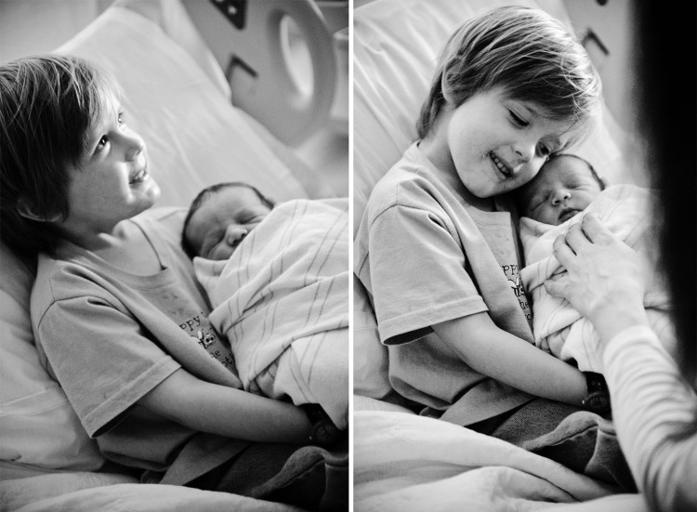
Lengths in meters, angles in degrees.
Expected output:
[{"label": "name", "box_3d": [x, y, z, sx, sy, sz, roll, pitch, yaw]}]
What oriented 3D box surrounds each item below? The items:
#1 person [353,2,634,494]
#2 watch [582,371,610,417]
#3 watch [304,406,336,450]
[{"label": "person", "box_3d": [0.642, -0.143, 2.660, 1.067, 2.085, 1.223, 3, 5, 26]}, {"label": "watch", "box_3d": [0.670, 0.363, 1.727, 0.048, 0.062, 0.081, 51, 29, -18]}, {"label": "watch", "box_3d": [-0.100, 0.492, 1.855, 0.089, 0.043, 0.119, -15, 65, -53]}]
